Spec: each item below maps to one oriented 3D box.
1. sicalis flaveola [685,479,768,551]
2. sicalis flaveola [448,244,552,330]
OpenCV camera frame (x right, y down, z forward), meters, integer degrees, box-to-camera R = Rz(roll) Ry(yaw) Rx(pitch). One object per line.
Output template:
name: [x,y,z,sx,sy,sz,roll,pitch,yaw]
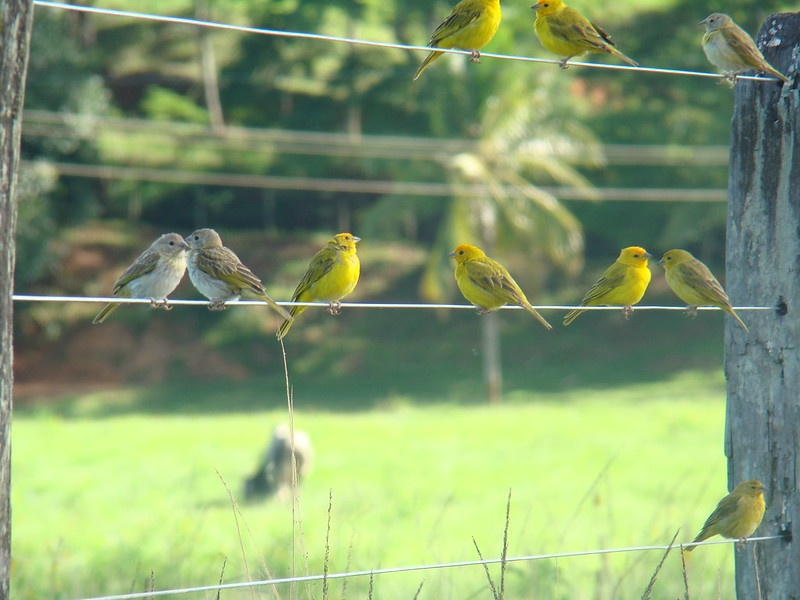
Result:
sicalis flaveola: [3.958,2.589,16.644,1.158,0.870,0.541,-8,-12,44]
sicalis flaveola: [1.109,-0.279,17.566,0.918,1.295,0.527,-8,-27,5]
